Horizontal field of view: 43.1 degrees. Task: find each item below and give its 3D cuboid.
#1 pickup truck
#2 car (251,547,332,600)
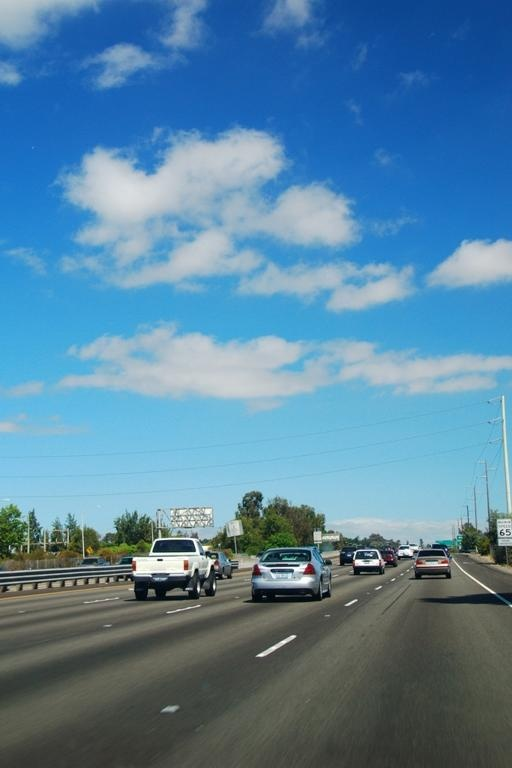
[{"bbox_3d":[-3.020,6.787,23.922,2.665,2.295,3.923,-1,-10,0],"label":"pickup truck"},{"bbox_3d":[1.373,6.090,21.229,1.415,1.071,3.213,-2,-7,10],"label":"car"}]
